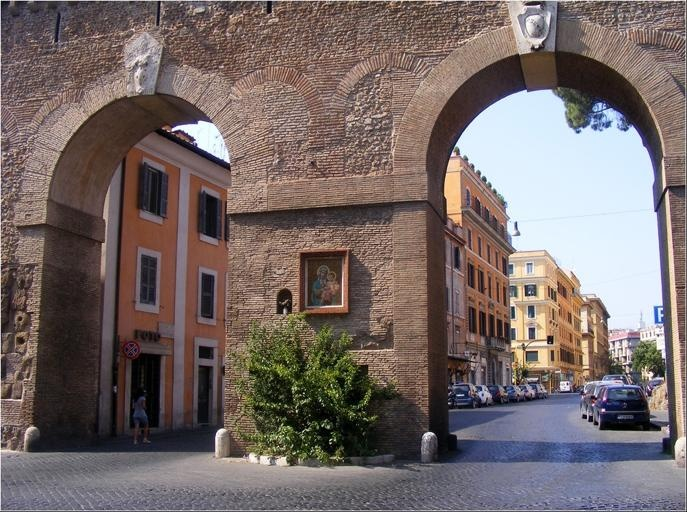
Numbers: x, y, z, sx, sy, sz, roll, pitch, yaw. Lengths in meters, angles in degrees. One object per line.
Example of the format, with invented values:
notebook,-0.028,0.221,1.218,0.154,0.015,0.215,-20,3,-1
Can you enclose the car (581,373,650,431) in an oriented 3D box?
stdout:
car,10.245,5.493,24.665,1.736,1.588,3.346,-1,-6,10

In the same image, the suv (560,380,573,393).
suv,28.768,16.903,84.512,1.203,1.125,2.318,-2,-1,12
